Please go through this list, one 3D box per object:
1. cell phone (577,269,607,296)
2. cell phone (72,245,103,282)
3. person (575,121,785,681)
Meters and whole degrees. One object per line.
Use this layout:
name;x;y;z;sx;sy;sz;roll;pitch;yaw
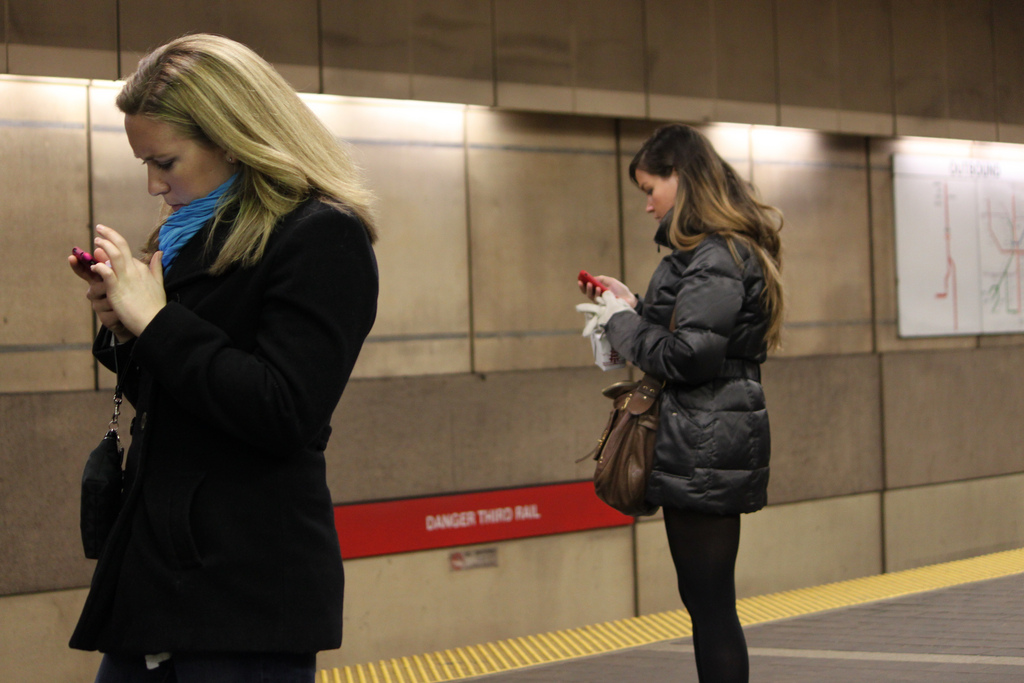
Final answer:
cell phone;0.421;-0.314;6.128;0.153;0.084;0.044;42;52;20
cell phone;-1.553;-0.286;4.387;0.062;0.057;0.218;1;-18;7
person;0.835;0.269;5.834;0.948;2.627;0.897;2;11;16
